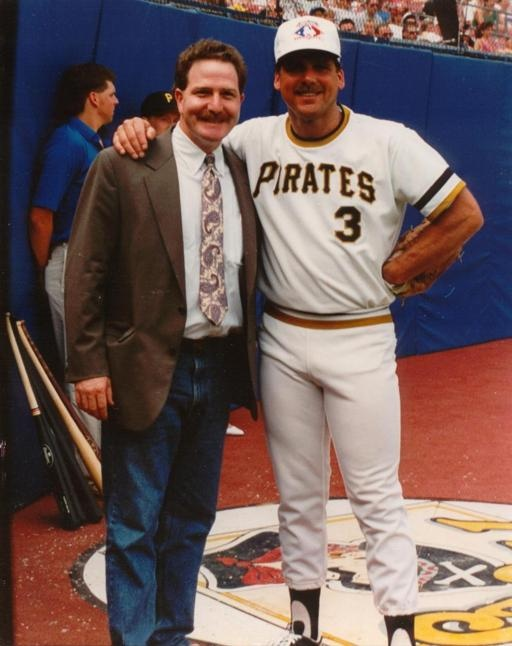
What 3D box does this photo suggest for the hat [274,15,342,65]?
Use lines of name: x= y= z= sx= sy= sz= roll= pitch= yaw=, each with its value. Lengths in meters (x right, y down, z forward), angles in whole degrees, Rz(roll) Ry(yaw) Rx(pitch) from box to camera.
hat: x=0.149 y=-0.816 z=1.946 sx=0.186 sy=0.137 sz=0.129 roll=5 pitch=17 yaw=-1

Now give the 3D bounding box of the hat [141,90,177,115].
hat: x=-0.463 y=-1.030 z=3.185 sx=0.143 sy=0.103 sz=0.193 roll=-10 pitch=9 yaw=-24

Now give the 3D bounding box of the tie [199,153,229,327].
tie: x=-0.120 y=-0.237 z=1.919 sx=0.093 sy=0.452 sz=0.204 roll=4 pitch=17 yaw=-6
